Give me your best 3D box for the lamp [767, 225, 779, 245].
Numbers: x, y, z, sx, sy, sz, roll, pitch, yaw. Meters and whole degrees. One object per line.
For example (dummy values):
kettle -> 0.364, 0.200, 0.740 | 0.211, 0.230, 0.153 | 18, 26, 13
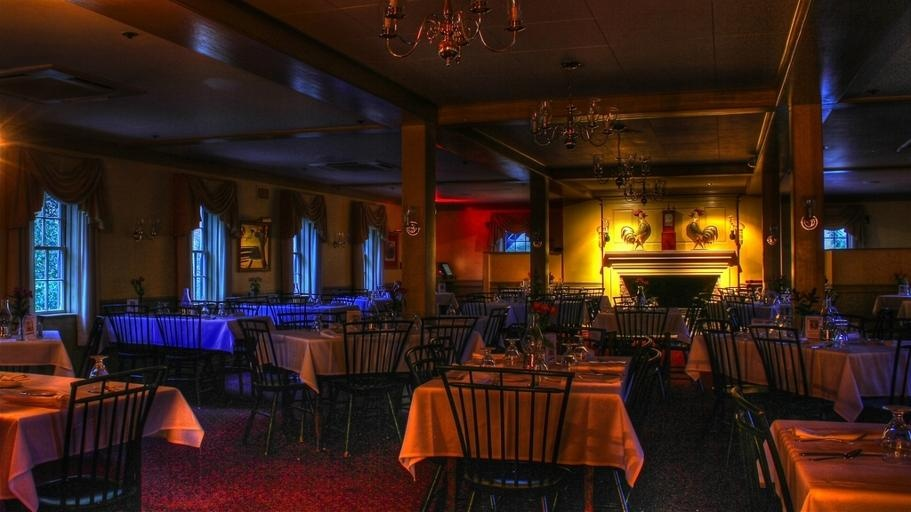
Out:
lamp -> 7.221, -0.459, 16.296 | 0.280, 0.435, 0.389 | -1, -3, 23

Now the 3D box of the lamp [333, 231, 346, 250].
lamp -> -3.035, -0.405, 18.738 | 0.152, 0.326, 0.489 | 6, 3, 16

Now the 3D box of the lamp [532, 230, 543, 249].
lamp -> 1.932, -0.381, 16.729 | 0.300, 0.418, 0.070 | -1, -3, 15

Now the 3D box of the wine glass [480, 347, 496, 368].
wine glass -> 0.310, 1.031, 7.271 | 0.170, 0.172, 0.168 | 0, 3, 25

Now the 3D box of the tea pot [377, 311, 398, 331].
tea pot -> -0.932, 0.914, 9.946 | 0.305, 0.149, 0.368 | 0, 1, 2

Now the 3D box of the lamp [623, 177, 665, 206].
lamp -> 4.534, -1.570, 17.169 | 1.235, 0.708, 1.199 | 2, 6, 14

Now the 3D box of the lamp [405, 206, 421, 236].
lamp -> -0.691, -0.554, 11.844 | 0.261, 0.476, 0.105 | 0, -3, -8

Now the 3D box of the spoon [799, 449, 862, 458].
spoon -> 3.090, 1.607, 5.843 | 0.533, 0.071, 0.094 | 0, -3, -4

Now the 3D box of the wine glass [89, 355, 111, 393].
wine glass -> -3.492, 1.137, 7.017 | 0.174, 0.259, 0.163 | 5, 3, -19

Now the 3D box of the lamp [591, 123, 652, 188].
lamp -> 3.530, -2.185, 15.618 | 1.266, 1.286, 1.128 | 1, -6, -36

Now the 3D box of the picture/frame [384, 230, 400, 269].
picture/frame -> -1.859, -0.183, 21.038 | 0.175, 1.122, 0.804 | -1, -3, 20

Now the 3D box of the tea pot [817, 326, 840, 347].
tea pot -> 4.427, 0.960, 8.456 | 0.207, 0.197, 0.198 | -2, -5, 0

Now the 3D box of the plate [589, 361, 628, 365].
plate -> 1.611, 1.124, 7.521 | 0.359, 0.043, 0.322 | -1, -4, 15

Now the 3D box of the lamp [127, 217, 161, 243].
lamp -> -5.894, -0.492, 13.732 | 0.187, 0.453, 0.595 | -1, -4, 25

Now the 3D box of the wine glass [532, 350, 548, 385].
wine glass -> 0.851, 1.109, 7.132 | 0.123, 0.297, 0.446 | 0, -3, 8

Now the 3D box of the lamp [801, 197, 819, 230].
lamp -> 5.312, -0.608, 10.716 | 0.241, 0.459, 0.111 | -1, -3, 24

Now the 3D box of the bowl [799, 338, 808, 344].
bowl -> 4.247, 1.030, 8.703 | 0.087, 0.046, 0.116 | 1, 2, 20

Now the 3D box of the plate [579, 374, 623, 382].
plate -> 1.422, 1.198, 7.073 | 0.421, 0.059, 0.211 | -1, -4, 18
